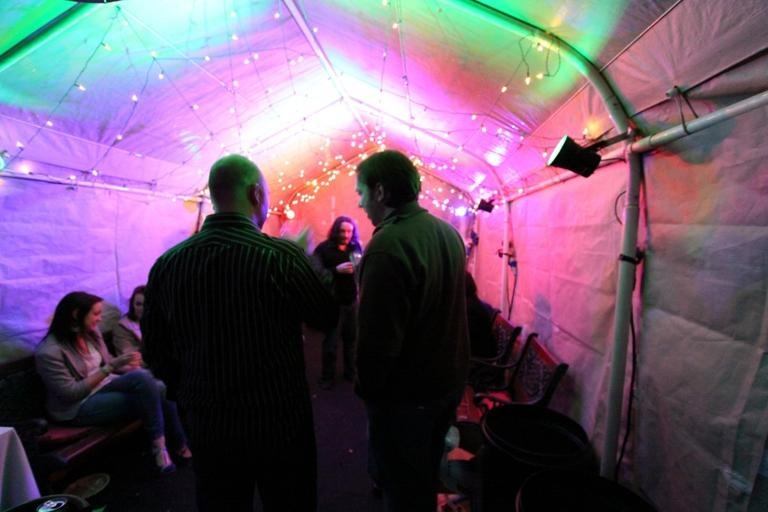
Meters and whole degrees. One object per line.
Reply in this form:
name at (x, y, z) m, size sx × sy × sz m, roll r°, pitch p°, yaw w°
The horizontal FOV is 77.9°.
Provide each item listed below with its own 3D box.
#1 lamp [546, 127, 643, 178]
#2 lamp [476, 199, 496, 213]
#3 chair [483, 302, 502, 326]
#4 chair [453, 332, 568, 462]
lamp at (1.377, -0.674, 3.063) m, size 0.203 × 0.210 × 0.483 m, roll 8°, pitch -18°, yaw -44°
lamp at (1.232, -0.613, 5.650) m, size 0.166 × 0.045 × 0.166 m, roll 6°, pitch -38°, yaw -6°
chair at (1.247, 0.662, 5.495) m, size 0.150 × 0.215 × 0.120 m, roll -12°, pitch 24°, yaw -14°
chair at (1.077, 1.179, 3.939) m, size 0.913 × 1.184 × 0.853 m, roll 7°, pitch -2°, yaw -11°
